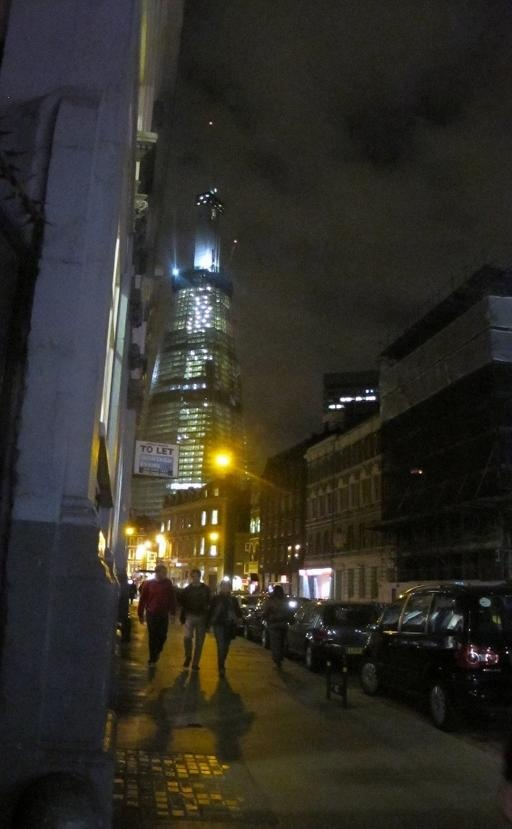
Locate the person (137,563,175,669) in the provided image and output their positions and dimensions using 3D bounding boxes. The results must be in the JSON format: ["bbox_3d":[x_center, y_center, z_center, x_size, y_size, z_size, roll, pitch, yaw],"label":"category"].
[{"bbox_3d":[-1.958,3.995,13.213,0.535,1.917,1.049,8,-14,-20],"label":"person"}]
